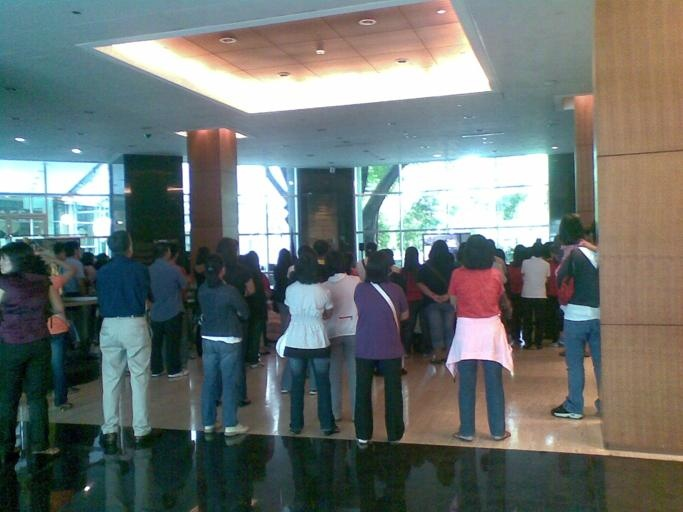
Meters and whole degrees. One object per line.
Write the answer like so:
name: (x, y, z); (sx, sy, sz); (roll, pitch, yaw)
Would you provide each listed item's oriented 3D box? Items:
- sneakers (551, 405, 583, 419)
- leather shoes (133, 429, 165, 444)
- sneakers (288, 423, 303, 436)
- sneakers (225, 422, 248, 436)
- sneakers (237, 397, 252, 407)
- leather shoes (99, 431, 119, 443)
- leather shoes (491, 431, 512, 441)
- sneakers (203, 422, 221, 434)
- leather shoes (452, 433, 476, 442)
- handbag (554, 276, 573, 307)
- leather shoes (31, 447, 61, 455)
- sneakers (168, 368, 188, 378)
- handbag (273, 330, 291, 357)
sneakers: (2.519, 1.723, 6.747); (0.304, 0.135, 0.132); (3, 0, 24)
leather shoes: (-2.053, 1.955, 6.497); (0.111, 0.118, 0.306); (12, 19, 25)
sneakers: (-0.494, 1.874, 6.519); (0.121, 0.077, 0.094); (0, -1, 14)
sneakers: (-1.112, 1.867, 6.570); (0.285, 0.113, 0.101); (-3, 5, -30)
sneakers: (-1.189, 1.794, 7.406); (0.154, 0.053, 0.054); (31, -52, -34)
leather shoes: (-2.516, 1.960, 6.536); (0.156, 0.144, 0.102); (7, -12, -9)
leather shoes: (1.648, 1.856, 6.227); (0.220, 0.078, 0.091); (-6, 5, -4)
sneakers: (-1.398, 1.891, 6.665); (0.083, 0.093, 0.230); (6, 5, 39)
leather shoes: (1.254, 1.852, 6.218); (0.163, 0.063, 0.083); (-5, -5, 44)
handbag: (2.460, 0.398, 6.677); (0.134, 0.337, 0.222); (-2, 7, -3)
leather shoes: (-3.044, 2.024, 6.239); (0.134, 0.035, 0.097); (15, 16, -9)
sneakers: (-2.336, 1.689, 8.711); (0.287, 0.110, 0.103); (-9, 13, -27)
handbag: (-0.639, 0.958, 6.531); (0.112, 0.359, 0.372); (-3, 7, -5)
